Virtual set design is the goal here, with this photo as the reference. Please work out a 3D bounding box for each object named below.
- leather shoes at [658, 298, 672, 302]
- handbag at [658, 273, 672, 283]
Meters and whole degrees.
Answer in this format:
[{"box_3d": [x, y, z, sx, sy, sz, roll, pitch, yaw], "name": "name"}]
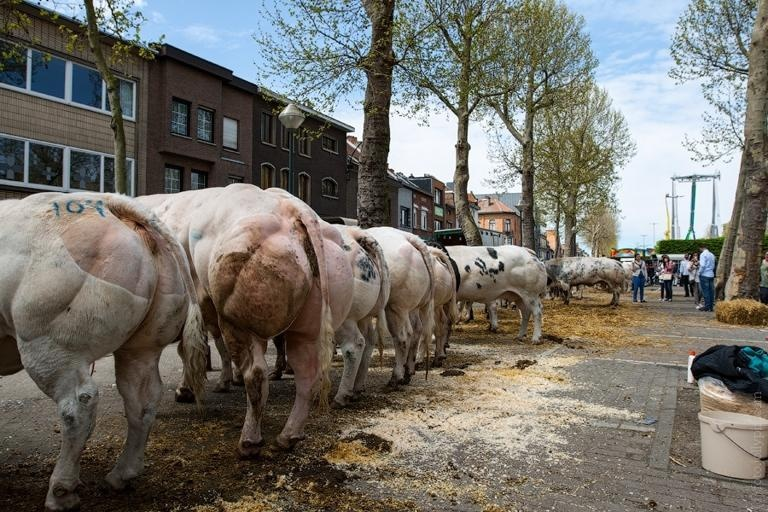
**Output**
[{"box_3d": [13.227, 2.048, 27.497, 0.641, 0.290, 0.227, 3, -3, -9], "name": "leather shoes"}, {"box_3d": [13.225, 1.001, 27.263, 0.408, 0.580, 0.769, 3, -5, 5], "name": "handbag"}]
